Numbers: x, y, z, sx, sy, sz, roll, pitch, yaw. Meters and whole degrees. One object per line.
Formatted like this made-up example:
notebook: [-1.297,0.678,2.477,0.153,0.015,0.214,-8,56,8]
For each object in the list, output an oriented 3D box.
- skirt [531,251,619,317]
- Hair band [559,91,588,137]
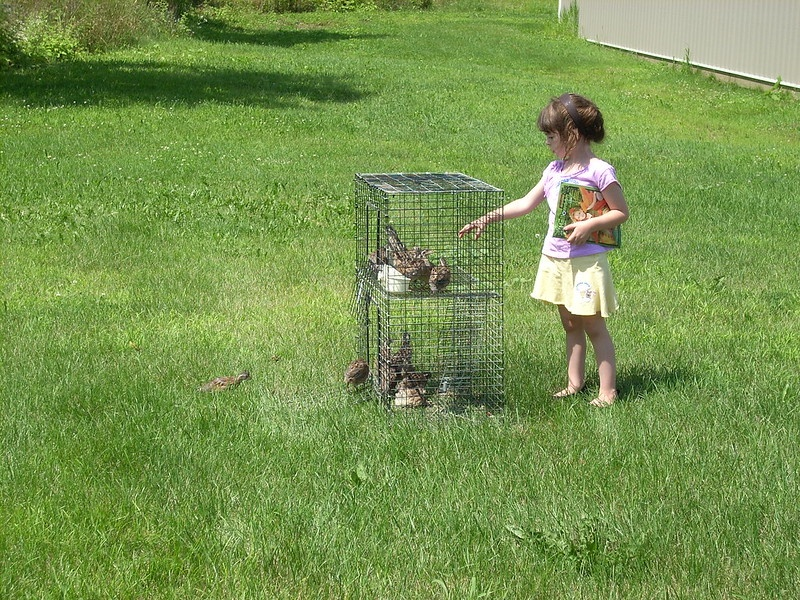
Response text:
skirt: [1.812,-0.210,14.019,0.821,0.873,0.581,9,12,39]
Hair band: [1.768,-1.884,13.796,0.079,0.375,0.313,-23,6,20]
